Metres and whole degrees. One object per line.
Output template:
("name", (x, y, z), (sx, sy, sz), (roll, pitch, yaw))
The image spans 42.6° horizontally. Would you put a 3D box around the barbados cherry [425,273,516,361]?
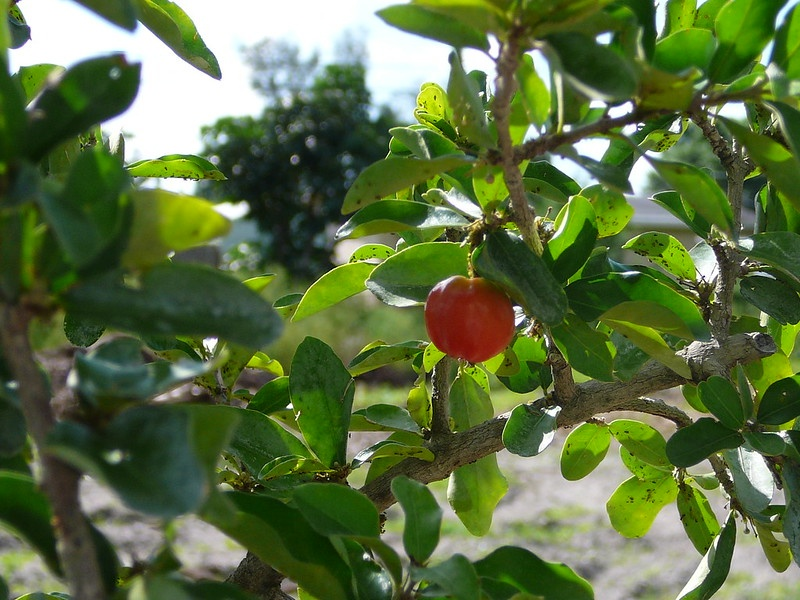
("barbados cherry", (0.150, 0.034, 2.102), (0.199, 0.185, 0.209), (3, -3, 32))
